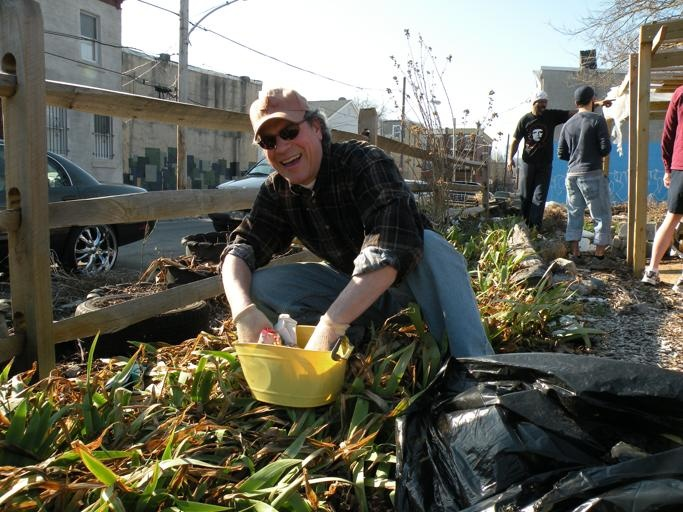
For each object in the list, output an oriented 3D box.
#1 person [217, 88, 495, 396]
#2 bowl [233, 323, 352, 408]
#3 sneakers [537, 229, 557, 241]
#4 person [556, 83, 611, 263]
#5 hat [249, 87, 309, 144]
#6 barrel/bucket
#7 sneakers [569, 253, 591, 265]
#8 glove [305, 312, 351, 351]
[{"bbox_3d":[0.030,-0.003,2.480,1.102,1.411,0.966,-7,-3,7],"label":"person"},{"bbox_3d":[-0.200,0.435,2.068,0.453,0.247,0.422,2,-6,0],"label":"bowl"},{"bbox_3d":[2.727,-0.273,7.072,0.158,0.097,0.160,8,20,6],"label":"sneakers"},{"bbox_3d":[2.754,-0.942,6.005,0.520,1.914,0.779,1,10,18],"label":"person"},{"bbox_3d":[-0.267,-0.605,2.294,0.258,0.221,0.212,-3,10,-3],"label":"hat"},{"bbox_3d":[-0.175,0.364,1.946,0.312,0.180,0.297,1,-2,0],"label":"barrel/bucket"},{"bbox_3d":[2.690,0.048,5.990,0.239,0.115,0.341,6,15,22],"label":"sneakers"},{"bbox_3d":[-0.063,0.303,2.044,0.156,0.164,0.096,29,-18,-2],"label":"glove"}]
